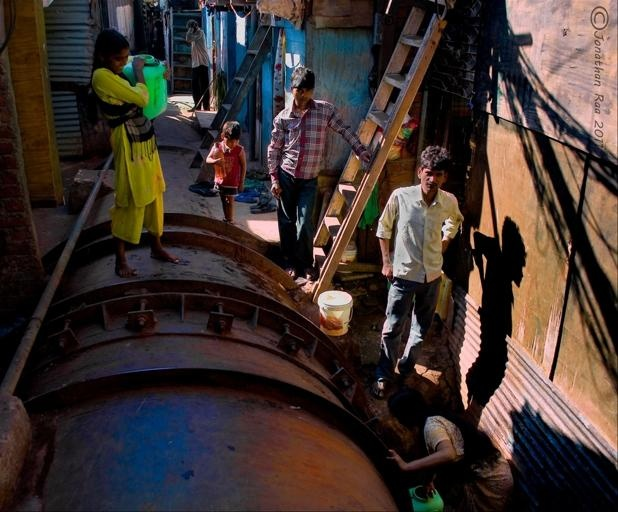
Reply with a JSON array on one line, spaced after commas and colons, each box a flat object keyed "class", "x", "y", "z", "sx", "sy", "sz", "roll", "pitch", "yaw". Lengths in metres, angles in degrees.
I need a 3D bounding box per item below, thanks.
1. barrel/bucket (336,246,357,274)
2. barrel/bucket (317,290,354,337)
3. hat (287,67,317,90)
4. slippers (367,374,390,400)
[{"class": "barrel/bucket", "x": 0.567, "y": 0.033, "z": 6.424, "sx": 0.303, "sy": 0.346, "sz": 0.298, "roll": -3, "pitch": -64, "yaw": -6}, {"class": "barrel/bucket", "x": 0.313, "y": 0.634, "z": 5.099, "sx": 0.410, "sy": 0.459, "sz": 0.432, "roll": 1, "pitch": -69, "yaw": 3}, {"class": "hat", "x": -0.070, "y": -1.917, "z": 4.625, "sx": 0.196, "sy": 0.274, "sz": 0.290, "roll": -1, "pitch": -68, "yaw": -1}, {"class": "slippers", "x": 0.754, "y": 1.361, "z": 4.633, "sx": 0.206, "sy": 0.154, "sz": 0.225, "roll": -18, "pitch": -61, "yaw": -41}]
